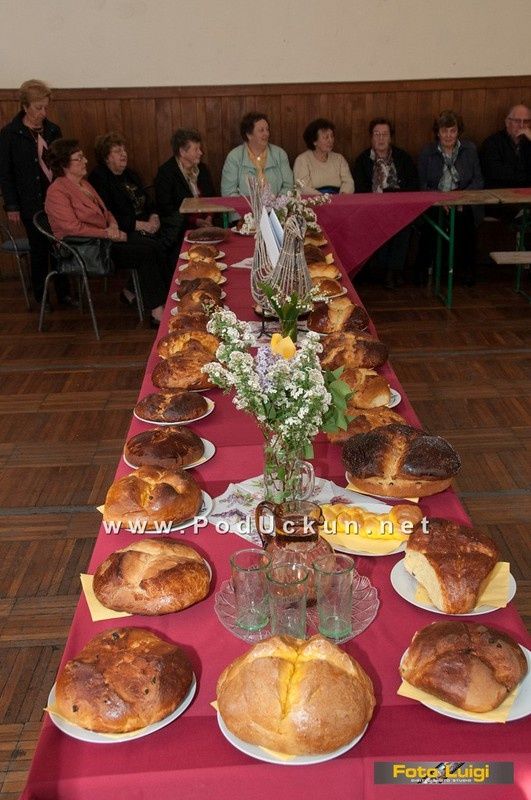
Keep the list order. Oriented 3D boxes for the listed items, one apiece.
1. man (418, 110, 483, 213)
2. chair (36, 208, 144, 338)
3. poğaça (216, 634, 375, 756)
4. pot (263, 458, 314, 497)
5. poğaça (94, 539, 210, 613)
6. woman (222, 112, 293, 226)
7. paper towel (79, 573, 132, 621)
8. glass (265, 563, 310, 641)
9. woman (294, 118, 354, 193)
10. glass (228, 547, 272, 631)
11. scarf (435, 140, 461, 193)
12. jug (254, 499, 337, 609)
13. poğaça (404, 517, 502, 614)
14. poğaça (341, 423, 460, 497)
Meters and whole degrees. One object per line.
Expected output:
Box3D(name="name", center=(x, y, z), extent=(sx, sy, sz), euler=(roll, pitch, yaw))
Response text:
Box3D(name="man", center=(1.790, -2.315, 5.778), extent=(0.633, 0.920, 0.583), euler=(3, 21, 16))
Box3D(name="chair", center=(-1.498, -1.057, 4.967), extent=(0.697, 0.942, 0.611), euler=(7, 19, 14))
Box3D(name="poğaça", center=(0.042, 0.332, 0.689), extent=(0.157, 0.053, 0.117), euler=(0, 36, 4))
Box3D(name="pot", center=(0.046, 0.144, 1.155), extent=(0.104, 0.091, 0.064), euler=(2, 9, 4))
Box3D(name="poğaça", center=(-0.192, 0.296, 0.991), extent=(0.136, 0.039, 0.121), euler=(6, 23, 7))
Box3D(name="woman", center=(-0.074, -2.243, 5.599), extent=(0.683, 0.854, 0.523), euler=(-13, 33, -21))
Box3D(name="paper towel", center=(-0.281, 0.340, 0.999), extent=(0.057, 0.001, 0.098), euler=(-4, 19, -23))
Box3D(name="glass", center=(0.034, 0.308, 0.878), extent=(0.074, 0.094, 0.072), euler=(-1, -1, -25))
Box3D(name="woman", center=(0.580, -2.350, 5.733), extent=(0.639, 0.671, 0.451), euler=(-11, 26, -14))
Box3D(name="glass", center=(-0.019, 0.304, 0.940), extent=(0.071, 0.108, 0.068), euler=(-1, 4, -5))
Box3D(name="scarf", center=(1.796, -2.233, 5.827), extent=(0.383, 0.496, 0.180), euler=(0, 9, 8))
Box3D(name="jug", center=(0.035, 0.262, 1.007), extent=(0.150, 0.141, 0.116), euler=(19, 13, 24))
Box3D(name="poğaça", center=(0.320, 0.257, 1.022), extent=(0.179, 0.055, 0.154), euler=(-22, 39, -40))
Box3D(name="poğaça", center=(0.293, 0.138, 1.339), extent=(0.198, 0.078, 0.224), euler=(2, 18, 7))
